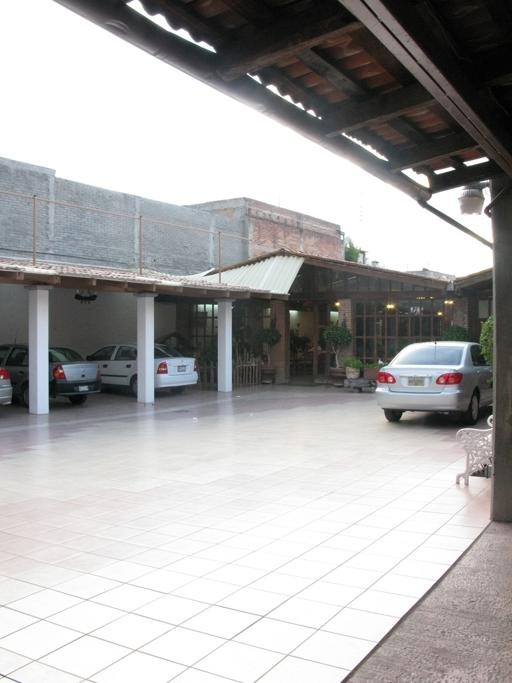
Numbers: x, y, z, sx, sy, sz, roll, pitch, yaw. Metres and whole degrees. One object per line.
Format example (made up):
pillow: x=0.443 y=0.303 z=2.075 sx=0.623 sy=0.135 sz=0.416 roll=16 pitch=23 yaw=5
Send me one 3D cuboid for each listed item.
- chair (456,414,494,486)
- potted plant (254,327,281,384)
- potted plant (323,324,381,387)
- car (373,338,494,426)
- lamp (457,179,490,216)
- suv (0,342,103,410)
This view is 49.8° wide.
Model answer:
chair: x=2.506 y=1.254 z=6.374 sx=0.397 sy=0.793 sz=0.931 roll=-1 pitch=-2 yaw=23
potted plant: x=0.421 y=0.474 z=20.763 sx=0.871 sy=2.231 sz=1.061 roll=-1 pitch=-2 yaw=1
potted plant: x=3.457 y=0.496 z=19.545 sx=2.327 sy=2.188 sz=1.467 roll=2 pitch=4 yaw=24
car: x=3.528 y=0.737 z=10.710 sx=1.318 sy=1.010 sz=2.748 roll=-1 pitch=2 yaw=28
lamp: x=3.449 y=-2.244 z=8.899 sx=0.371 sy=0.356 sz=0.626 roll=-1 pitch=-2 yaw=19
suv: x=-5.631 y=0.905 z=14.688 sx=2.435 sy=1.647 sz=1.813 roll=-1 pitch=-2 yaw=21
